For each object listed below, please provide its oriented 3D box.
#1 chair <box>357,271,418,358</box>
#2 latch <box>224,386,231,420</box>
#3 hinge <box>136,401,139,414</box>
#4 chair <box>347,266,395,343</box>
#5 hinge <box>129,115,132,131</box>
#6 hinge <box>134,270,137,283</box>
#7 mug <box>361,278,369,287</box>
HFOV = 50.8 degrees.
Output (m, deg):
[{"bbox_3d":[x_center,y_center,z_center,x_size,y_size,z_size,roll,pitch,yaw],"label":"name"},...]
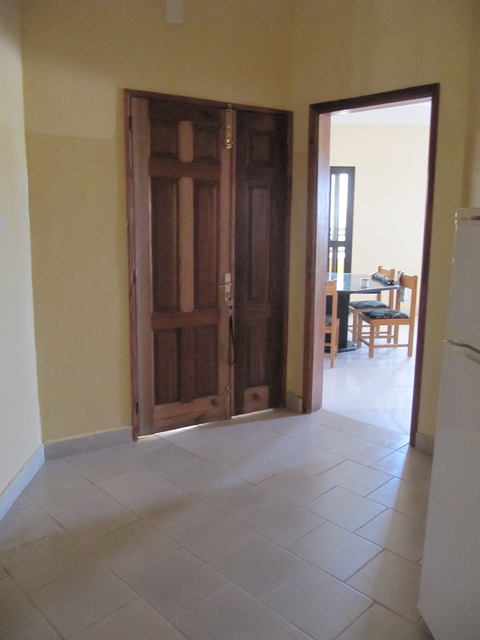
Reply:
[{"bbox_3d":[1.740,-0.101,5.853,0.439,0.980,0.499,6,9,11],"label":"chair"},{"bbox_3d":[-0.090,0.603,3.705,0.055,0.249,0.033,-2,7,-19],"label":"latch"},{"bbox_3d":[-0.672,0.570,3.313,0.007,0.089,0.026,3,7,24],"label":"hinge"},{"bbox_3d":[1.651,-0.217,6.465,0.480,0.968,0.525,-1,11,-12],"label":"chair"},{"bbox_3d":[-0.651,-1.175,3.007,0.004,0.087,0.021,4,8,34],"label":"hinge"},{"bbox_3d":[-0.656,-0.280,3.174,0.007,0.075,0.019,5,8,36],"label":"hinge"},{"bbox_3d":[1.436,-0.432,5.777,0.094,0.136,0.107,-1,8,-1],"label":"mug"}]
